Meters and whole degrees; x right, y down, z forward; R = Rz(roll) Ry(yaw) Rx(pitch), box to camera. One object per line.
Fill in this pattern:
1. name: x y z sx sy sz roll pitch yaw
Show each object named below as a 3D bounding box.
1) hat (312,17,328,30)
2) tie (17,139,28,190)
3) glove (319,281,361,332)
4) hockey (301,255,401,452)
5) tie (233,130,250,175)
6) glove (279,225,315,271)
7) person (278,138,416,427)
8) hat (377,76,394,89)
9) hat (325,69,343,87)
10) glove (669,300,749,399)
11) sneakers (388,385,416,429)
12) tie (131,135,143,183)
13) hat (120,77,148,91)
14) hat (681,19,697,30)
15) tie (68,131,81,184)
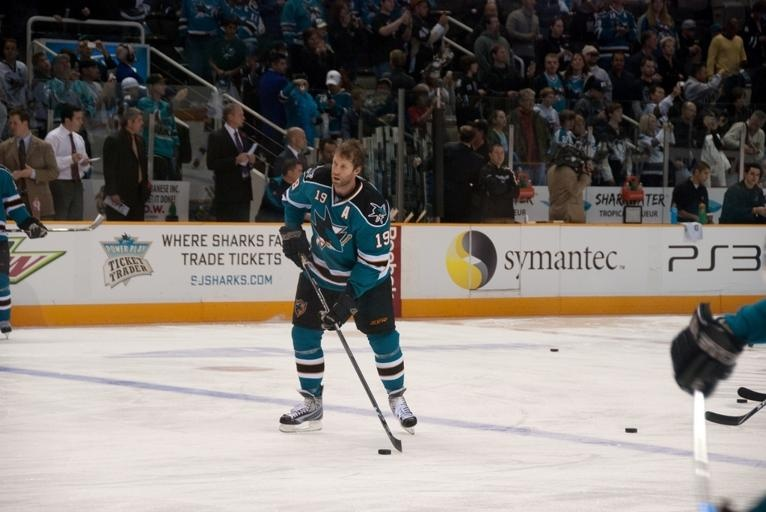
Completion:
1. hat: -1.032 -3.806 19.517 0.238 0.071 0.224 29 36 10
2. tie: -4.824 -1.270 15.988 0.112 0.590 0.155 -4 -3 8
3. glove: -0.485 0.485 11.400 0.173 0.405 0.398 24 43 -12
4. hockey: -0.332 0.998 11.832 0.296 1.999 0.155 -16 -24 -25
5. tie: -1.992 -1.453 16.862 0.186 0.655 0.215 7 14 28
6. glove: -0.874 -0.091 11.878 0.285 0.433 0.179 -19 -14 28
7. person: -0.355 0.246 11.675 1.229 2.771 0.953 -1 12 -5
8. hat: 0.021 -2.612 18.057 0.161 0.206 0.197 5 8 1
9. hat: -0.750 -2.741 18.289 0.218 0.157 0.305 4 21 8
10. glove: 2.342 0.678 8.791 0.410 0.730 0.337 38 -8 -6
11. sneakers: 0.165 1.494 11.668 0.161 0.515 0.257 -27 -39 9
12. tie: -3.378 -1.339 16.388 0.123 0.621 0.072 4 13 16
13. hat: -3.436 -2.362 16.375 0.349 0.162 0.217 -6 6 -22
14. hat: 5.842 -4.405 22.677 0.332 0.166 0.231 2 13 29
15. tie: -4.197 -1.345 16.189 0.120 0.628 0.101 -3 13 -17
